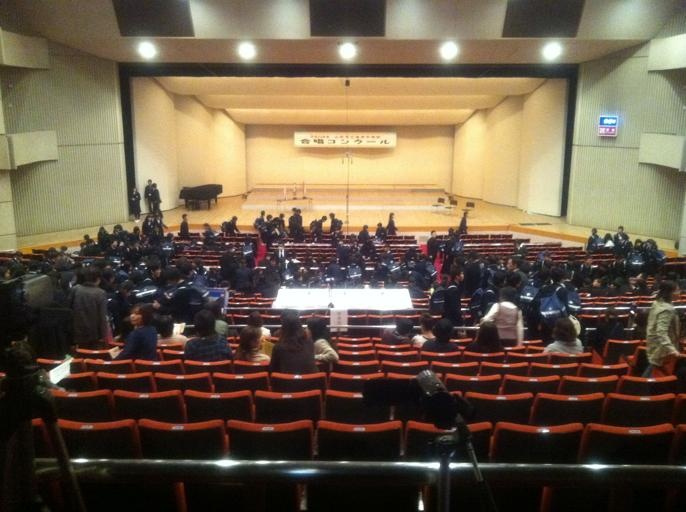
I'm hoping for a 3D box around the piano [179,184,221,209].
[{"bbox_3d":[-6.768,-2.833,23.652,1.356,0.929,2.026,2,17,5],"label":"piano"}]
